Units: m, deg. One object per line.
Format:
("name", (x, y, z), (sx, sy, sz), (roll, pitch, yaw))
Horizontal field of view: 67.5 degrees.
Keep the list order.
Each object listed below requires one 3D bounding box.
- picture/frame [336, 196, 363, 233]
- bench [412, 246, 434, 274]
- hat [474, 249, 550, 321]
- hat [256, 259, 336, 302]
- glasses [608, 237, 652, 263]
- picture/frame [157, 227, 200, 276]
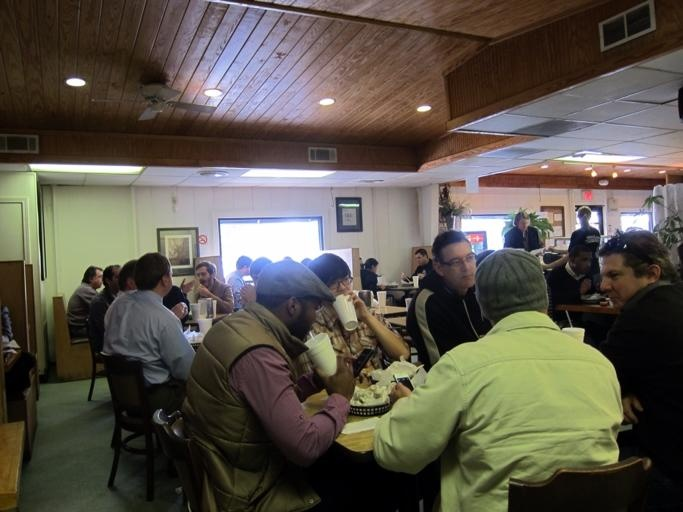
("picture/frame", (0.121, -0.824, 9.969), (0.707, 0.805, 0.057), (-1, 1, -22))
("bench", (1.403, 0.069, 8.810), (0.270, 0.382, 0.493), (3, -8, -20))
("hat", (0.682, 0.086, 2.143), (0.229, 0.263, 0.318), (-22, 23, 12))
("hat", (-0.228, 0.118, 2.340), (0.280, 0.146, 0.198), (1, -3, -9))
("glasses", (1.614, -0.051, 2.864), (0.161, 0.075, 0.137), (31, 1, 21))
("picture/frame", (-2.530, -0.071, 7.866), (0.831, 1.000, 0.040), (0, -5, -30))
